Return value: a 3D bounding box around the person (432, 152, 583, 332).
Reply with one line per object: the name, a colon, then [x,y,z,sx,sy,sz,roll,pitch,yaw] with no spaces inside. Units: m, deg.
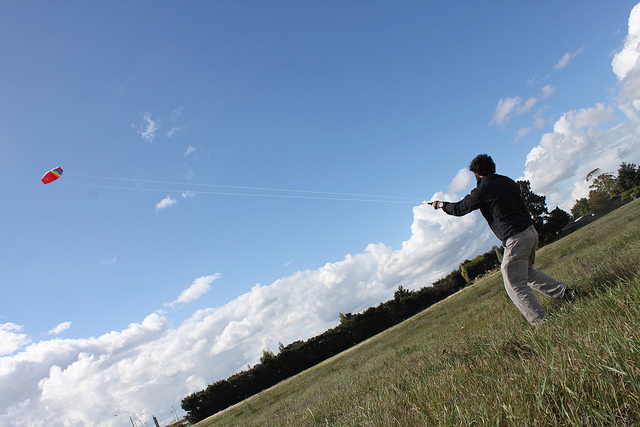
person: [3.156,0.371,6.796,1.226,2.761,0.904,-37,-22,14]
